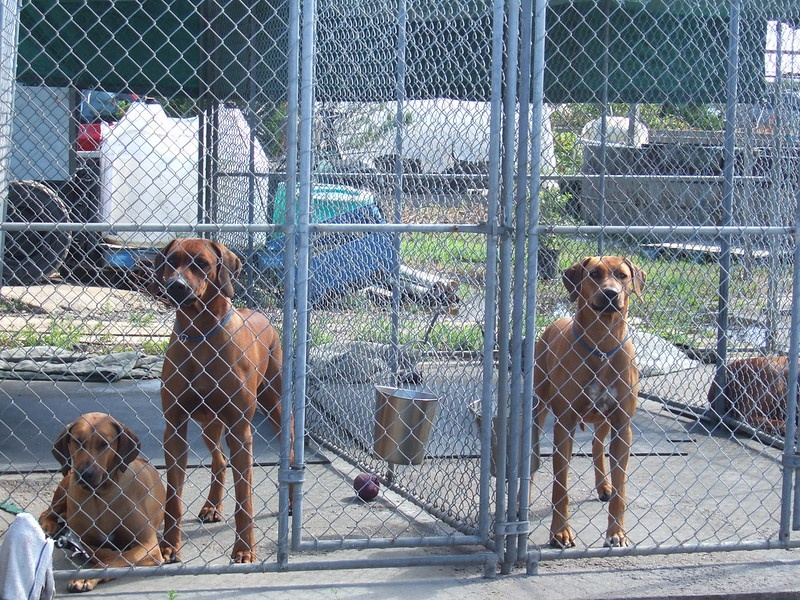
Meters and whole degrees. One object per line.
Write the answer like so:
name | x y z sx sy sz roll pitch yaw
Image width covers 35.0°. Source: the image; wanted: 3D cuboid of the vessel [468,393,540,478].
vessel | 0.781 1.019 9.283 0.424 0.608 0.574 0 0 2

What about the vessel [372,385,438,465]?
vessel | 0.025 0.959 9.472 0.403 0.530 0.516 11 -7 -7

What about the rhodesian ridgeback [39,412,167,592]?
rhodesian ridgeback | -2.013 1.341 8.507 0.606 0.888 1.230 0 5 1
